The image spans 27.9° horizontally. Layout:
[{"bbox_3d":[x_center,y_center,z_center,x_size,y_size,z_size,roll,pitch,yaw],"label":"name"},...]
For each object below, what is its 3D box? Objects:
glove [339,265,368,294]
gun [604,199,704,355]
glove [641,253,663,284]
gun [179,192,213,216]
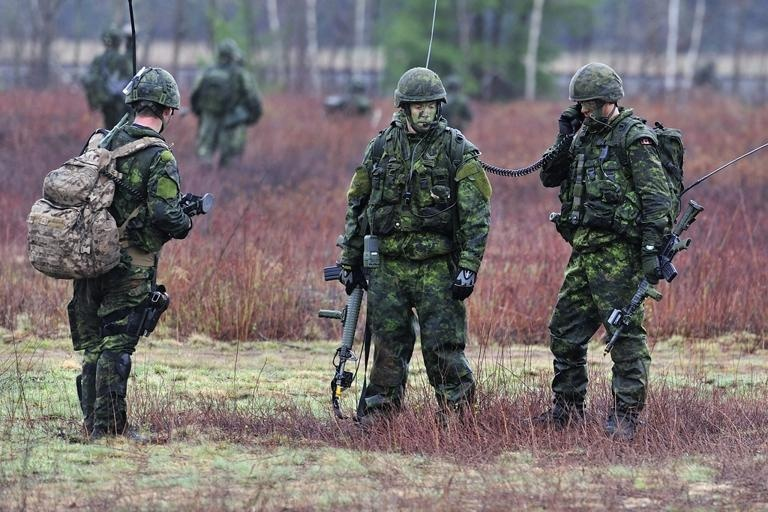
[{"bbox_3d":[-0.458,0.320,23.147,0.308,0.473,0.175,2,0,13],"label":"glove"},{"bbox_3d":[4.094,0.382,23.683,0.336,2.471,0.695,35,-12,-27],"label":"gun"},{"bbox_3d":[3.949,0.168,22.772,0.350,0.397,0.133,-10,-1,-2],"label":"glove"},{"bbox_3d":[-2.770,-0.770,23.035,0.422,0.294,0.237,3,8,8],"label":"gun"}]
